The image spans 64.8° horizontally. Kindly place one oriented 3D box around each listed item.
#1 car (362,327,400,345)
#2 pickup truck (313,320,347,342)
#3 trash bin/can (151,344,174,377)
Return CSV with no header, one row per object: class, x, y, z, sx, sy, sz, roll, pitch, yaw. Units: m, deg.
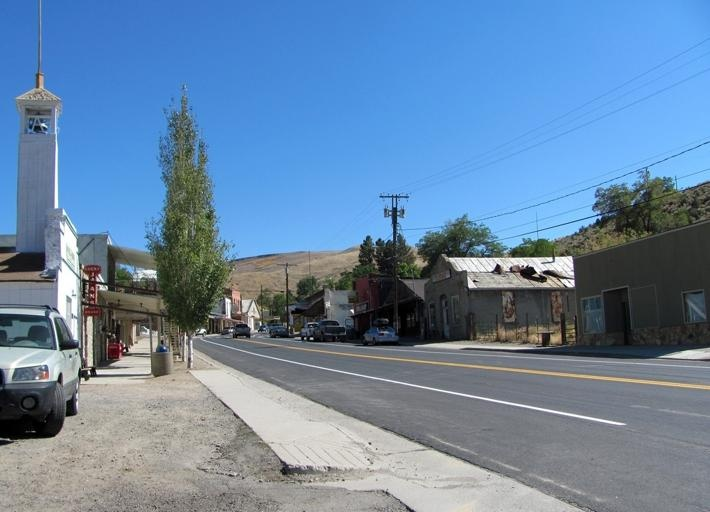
car,1.950,6.231,44.039,2.798,1.432,1.654,-9,-11,24
pickup truck,-2.616,7.540,56.484,2.449,2.300,3.318,2,-11,-32
trash bin/can,-7.374,4.066,21.291,0.759,1.285,0.745,-3,1,-45
